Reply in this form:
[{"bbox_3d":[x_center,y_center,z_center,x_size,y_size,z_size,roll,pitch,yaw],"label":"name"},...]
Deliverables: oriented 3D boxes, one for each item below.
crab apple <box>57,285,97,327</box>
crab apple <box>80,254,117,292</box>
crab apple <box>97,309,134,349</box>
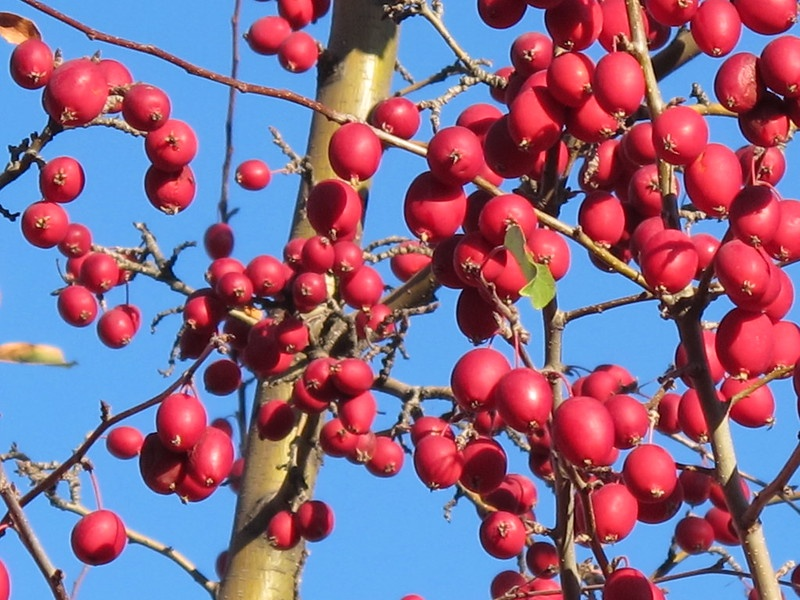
[{"bbox_3d":[-1.249,0.018,6.326,0.110,0.160,0.117,-12,3,28],"label":"crab apple"},{"bbox_3d":[-1.209,-0.085,6.536,0.125,0.181,0.146,11,-26,-9],"label":"crab apple"},{"bbox_3d":[-1.077,0.109,6.163,0.115,0.175,0.134,0,-3,2],"label":"crab apple"}]
